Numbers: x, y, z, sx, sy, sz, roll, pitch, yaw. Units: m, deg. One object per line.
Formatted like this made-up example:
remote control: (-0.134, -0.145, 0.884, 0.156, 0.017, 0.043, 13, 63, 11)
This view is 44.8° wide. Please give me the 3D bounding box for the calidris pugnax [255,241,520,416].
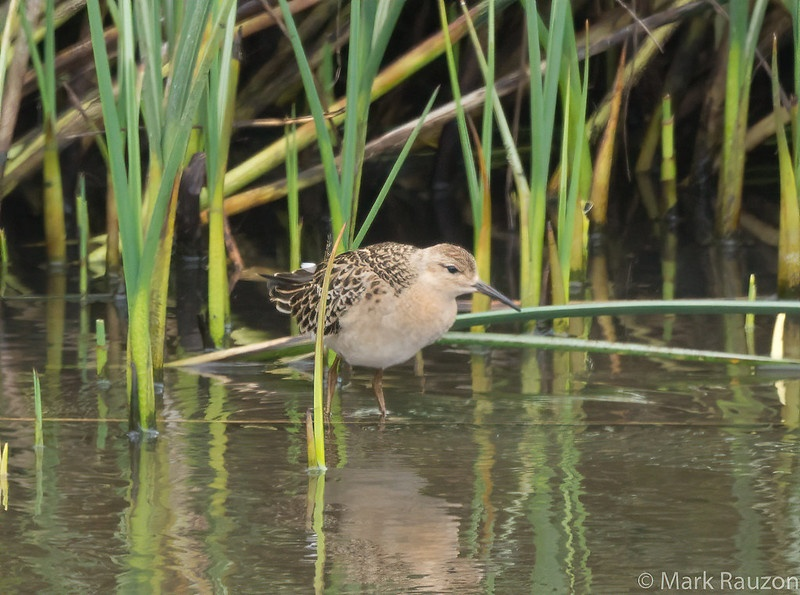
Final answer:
calidris pugnax: (-0.145, 0.083, 4.657, 0.662, 0.904, 1.302, -7, 21, -45)
